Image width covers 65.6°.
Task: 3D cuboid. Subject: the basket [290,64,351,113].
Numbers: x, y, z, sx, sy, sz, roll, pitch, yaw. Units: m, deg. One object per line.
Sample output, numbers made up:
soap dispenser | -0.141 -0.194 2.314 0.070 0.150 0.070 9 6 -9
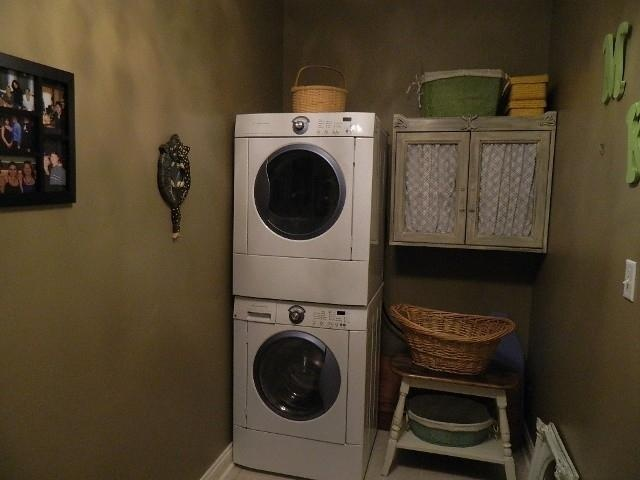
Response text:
basket | 0.005 -0.936 3.165 0.400 0.431 0.438 0 3 0

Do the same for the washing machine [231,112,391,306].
washing machine | -0.057 -0.202 3.216 0.803 1.329 0.983 0 2 15

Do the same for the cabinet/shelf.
cabinet/shelf | 0.933 -0.361 2.961 0.699 0.717 0.294 2 5 12

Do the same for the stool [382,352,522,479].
stool | 0.798 0.886 3.033 0.718 0.722 0.650 1 -9 16
